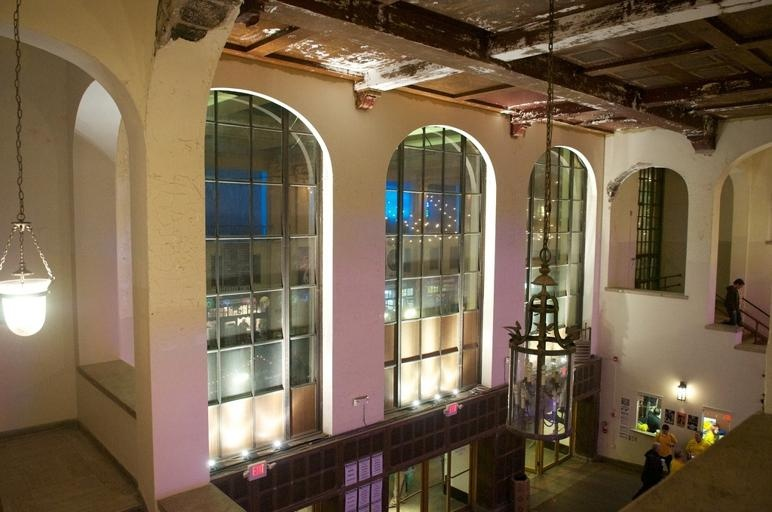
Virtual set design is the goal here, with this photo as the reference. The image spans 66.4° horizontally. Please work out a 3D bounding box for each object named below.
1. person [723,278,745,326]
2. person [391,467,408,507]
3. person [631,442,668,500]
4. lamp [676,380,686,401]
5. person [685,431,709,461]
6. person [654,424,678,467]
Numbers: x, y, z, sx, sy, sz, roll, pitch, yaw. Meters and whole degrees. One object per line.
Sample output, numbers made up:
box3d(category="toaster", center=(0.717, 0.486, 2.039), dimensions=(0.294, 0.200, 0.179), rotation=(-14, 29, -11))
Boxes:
box3d(category="person", center=(9.010, 1.212, 15.282), dimensions=(0.344, 1.211, 0.814), rotation=(3, 4, 31))
box3d(category="person", center=(0.304, 5.079, 12.994), dimensions=(0.143, 0.777, 0.536), rotation=(4, 5, 42))
box3d(category="person", center=(6.614, 5.343, 14.718), dimensions=(0.683, 1.354, 1.210), rotation=(2, 4, 26))
box3d(category="lamp", center=(7.680, 3.495, 15.301), dimensions=(0.239, 0.525, 0.119), rotation=(2, 4, 28))
box3d(category="person", center=(7.734, 4.711, 14.677), dimensions=(0.404, 0.535, 0.848), rotation=(2, 4, 27))
box3d(category="person", center=(7.036, 4.918, 14.901), dimensions=(0.506, 1.298, 0.392), rotation=(3, 8, 31))
